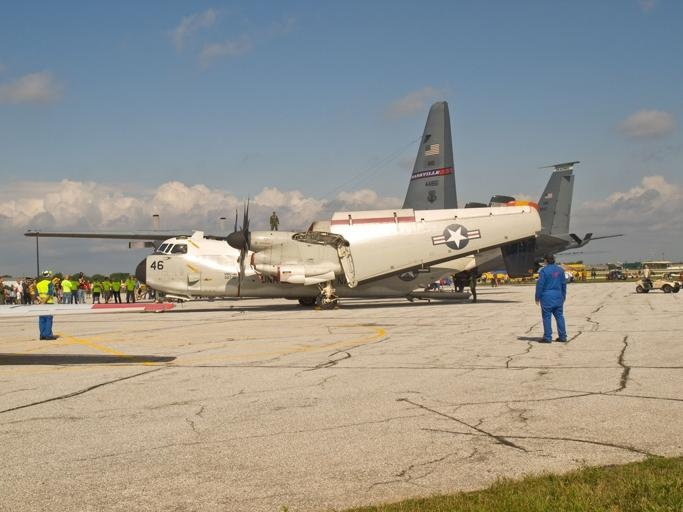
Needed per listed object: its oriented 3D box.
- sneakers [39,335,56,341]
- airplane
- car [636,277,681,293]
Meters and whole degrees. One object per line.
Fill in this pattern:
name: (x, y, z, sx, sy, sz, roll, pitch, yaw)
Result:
sneakers: (-7.401, 2.090, 14.883, 0.542, 0.141, 0.147, 0, 1, -12)
airplane: (0.907, -0.191, 25.555, 18.588, 4.537, 14.879, 0, 0, 0)
car: (17.159, 1.685, 32.552, 2.349, 0.563, 1.215, 1, 0, 27)
